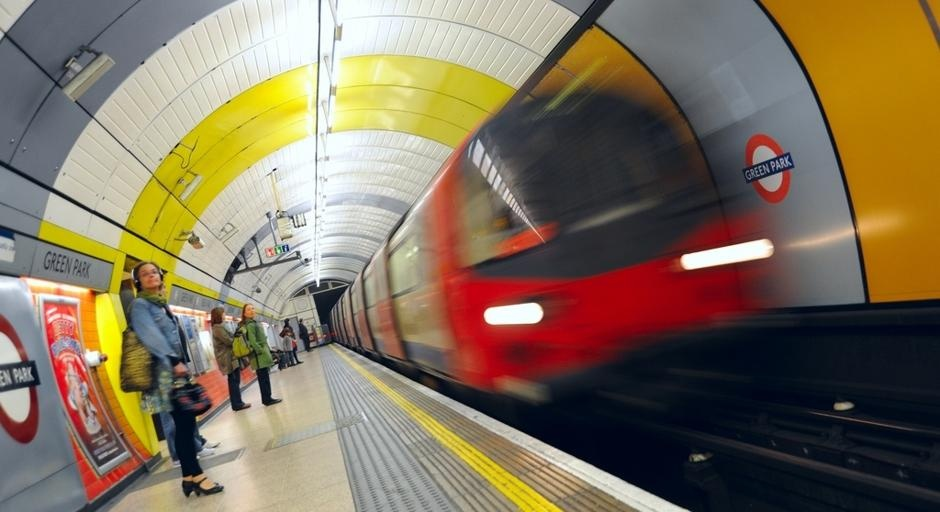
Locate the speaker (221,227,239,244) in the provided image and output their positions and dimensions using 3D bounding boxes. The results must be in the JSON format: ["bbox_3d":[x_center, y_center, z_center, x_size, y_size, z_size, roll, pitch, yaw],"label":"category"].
[{"bbox_3d":[-9.667,-0.825,16.798,0.593,0.167,0.607,-48,-5,11],"label":"speaker"}]

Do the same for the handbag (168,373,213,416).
[{"bbox_3d":[-3.839,1.909,5.762,0.409,0.582,0.317,0,-32,-47],"label":"handbag"}]

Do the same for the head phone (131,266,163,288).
[{"bbox_3d":[-4.529,0.273,5.899,0.296,0.277,0.131,-6,-5,-24],"label":"head phone"}]

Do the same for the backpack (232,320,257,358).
[{"bbox_3d":[-5.717,2.078,10.453,0.414,0.789,0.599,-8,-5,-26],"label":"backpack"}]
